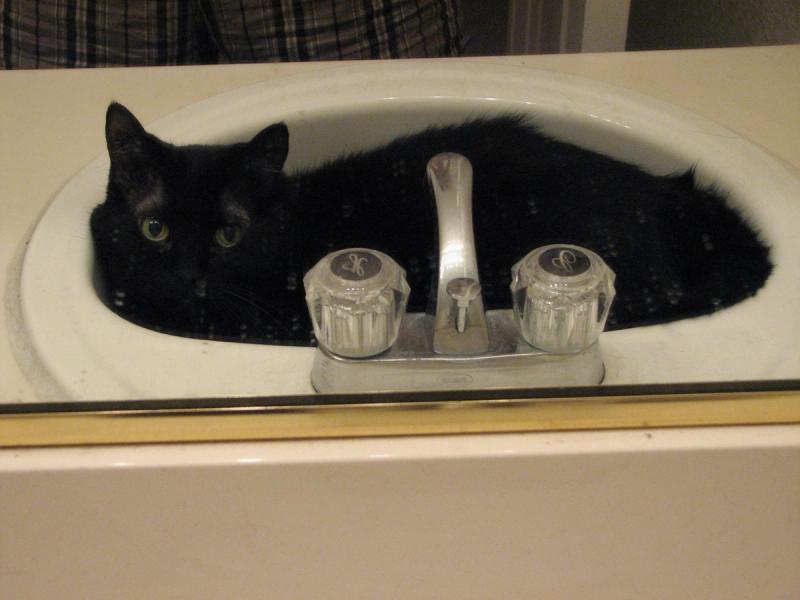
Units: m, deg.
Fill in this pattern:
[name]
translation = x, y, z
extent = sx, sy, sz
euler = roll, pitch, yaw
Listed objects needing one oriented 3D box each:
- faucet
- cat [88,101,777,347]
[faucet]
translation = 0.039, -0.037, 0.664
extent = 0.044, 0.152, 0.056
euler = -1, -1, -1
[cat]
translation = 0.010, -0.060, 0.793
extent = 0.612, 0.221, 0.220
euler = -8, 36, 0
